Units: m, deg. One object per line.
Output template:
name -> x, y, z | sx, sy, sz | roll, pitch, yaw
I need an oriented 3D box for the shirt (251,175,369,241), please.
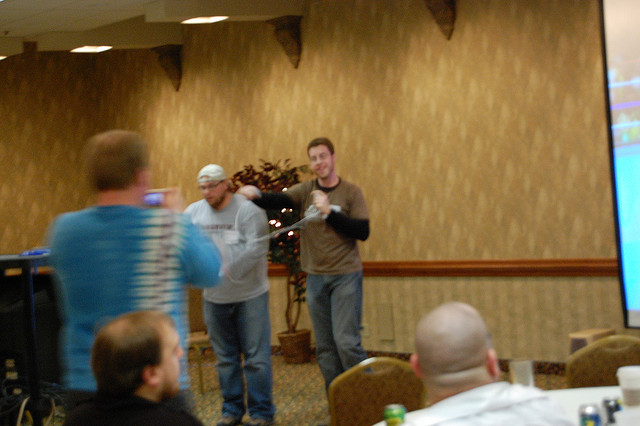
shirt -> 0.037, -0.105, 5.861 | 0.858, 0.303, 1.213 | 9, 18, -5

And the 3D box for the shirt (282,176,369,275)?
shirt -> 0.055, 0.121, 5.663 | 0.853, 0.844, 0.563 | 3, 8, 22

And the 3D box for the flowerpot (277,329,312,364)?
flowerpot -> -0.290, 1.563, 7.584 | 0.348, 0.281, 0.362 | -2, -8, 0

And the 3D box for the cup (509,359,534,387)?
cup -> 1.034, 0.808, 3.326 | 0.136, 0.155, 0.137 | -3, 2, 0

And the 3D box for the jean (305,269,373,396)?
jean -> 0.139, 0.992, 5.543 | 0.466, 0.967, 0.246 | -8, -6, 37

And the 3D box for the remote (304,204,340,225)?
remote -> -0.024, 0.008, 5.542 | 0.197, 0.175, 0.445 | -1, -6, -37

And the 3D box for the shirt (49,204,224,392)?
shirt -> -0.948, 0.422, 3.307 | 0.844, 0.929, 0.251 | -5, -5, 2
